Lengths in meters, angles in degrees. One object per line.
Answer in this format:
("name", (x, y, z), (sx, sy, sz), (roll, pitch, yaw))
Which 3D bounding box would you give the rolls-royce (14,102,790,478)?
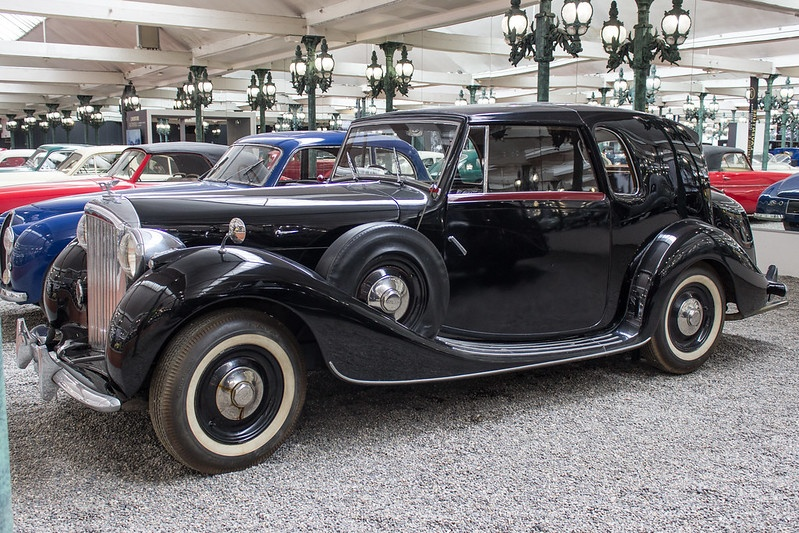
("rolls-royce", (0.678, -0.069, 4.848), (5.663, 2.071, 2.106), (-6, 4, -18))

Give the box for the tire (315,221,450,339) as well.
("tire", (-0.134, 0.107, 3.638), (0.752, 0.791, 0.232), (2, 6, -24))

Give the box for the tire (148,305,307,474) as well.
("tire", (-1.025, 0.721, 3.226), (0.882, 0.985, 0.314), (5, 7, -33))

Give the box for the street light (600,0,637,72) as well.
("street light", (4.876, -5.254, 12.346), (0.634, 1.791, 2.642), (2, 10, 21))

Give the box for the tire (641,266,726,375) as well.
("tire", (2.316, 0.422, 4.531), (0.795, 0.922, 0.277), (5, 4, -31))
